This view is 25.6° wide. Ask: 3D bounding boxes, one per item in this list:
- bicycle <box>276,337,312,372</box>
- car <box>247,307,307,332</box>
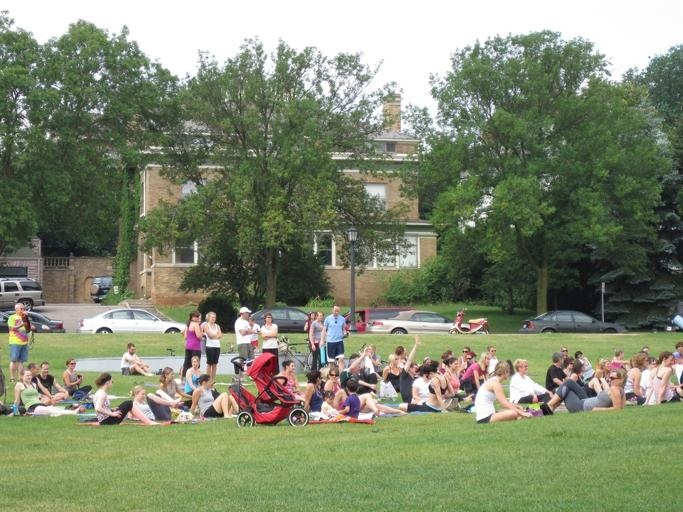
[{"bbox_3d":[-2.058,4.241,65.631,1.688,0.955,1.592,1,1,27],"label":"bicycle"},{"bbox_3d":[-3.207,3.241,77.161,3.131,1.012,1.339,-1,-1,-18],"label":"car"}]
